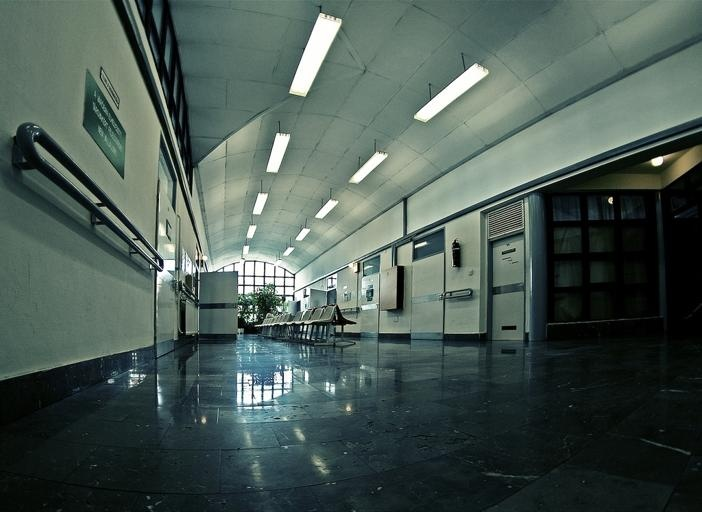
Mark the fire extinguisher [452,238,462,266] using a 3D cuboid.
[{"bbox_3d":[2.175,-0.050,10.026,0.145,0.604,0.298,0,-2,-8],"label":"fire extinguisher"}]
